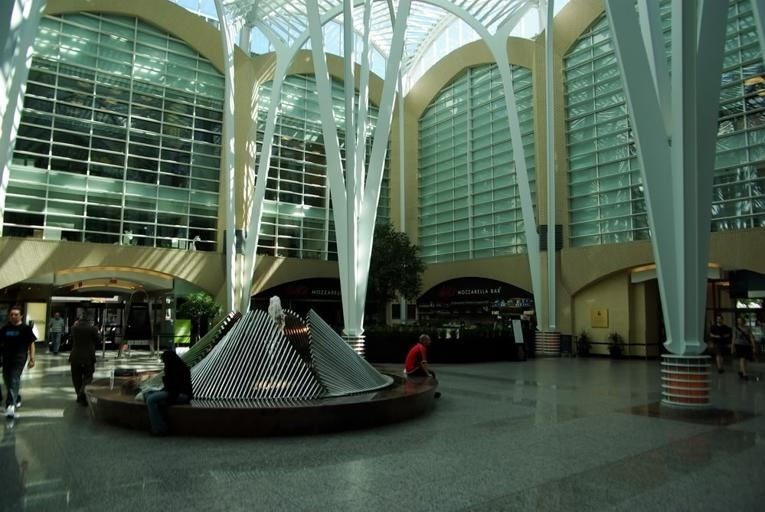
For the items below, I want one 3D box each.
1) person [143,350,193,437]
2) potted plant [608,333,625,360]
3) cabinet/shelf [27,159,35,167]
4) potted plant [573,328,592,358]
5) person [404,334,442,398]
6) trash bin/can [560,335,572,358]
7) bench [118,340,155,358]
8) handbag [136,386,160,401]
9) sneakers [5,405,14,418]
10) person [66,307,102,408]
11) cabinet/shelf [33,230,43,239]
[{"bbox_3d":[-4.924,3.136,14.648,0.952,1.875,0.365,0,3,-22],"label":"person"},{"bbox_3d":[12.031,4.662,32.745,1.005,1.425,1.026,2,-5,-24],"label":"potted plant"},{"bbox_3d":[-18.407,-4.816,33.204,0.417,0.417,0.298,-1,-7,-35],"label":"cabinet/shelf"},{"bbox_3d":[10.757,4.774,34.139,1.018,1.766,1.065,0,-6,1],"label":"potted plant"},{"bbox_3d":[1.078,2.968,18.755,0.886,1.300,0.980,0,3,-12],"label":"person"},{"bbox_3d":[9.924,4.830,34.462,0.687,1.013,0.578,2,3,17],"label":"trash bin/can"},{"bbox_3d":[-12.683,4.791,32.564,1.618,0.445,1.788,1,-4,-2],"label":"bench"},{"bbox_3d":[-5.630,3.268,15.139,0.506,0.194,0.468,-5,0,-4],"label":"handbag"},{"bbox_3d":[-9.099,3.795,15.528,0.194,0.307,0.230,-1,3,-29],"label":"sneakers"},{"bbox_3d":[-8.135,2.737,17.318,0.723,2.419,0.995,-1,3,-27],"label":"person"},{"bbox_3d":[-18.023,-1.118,33.172,0.213,0.443,0.452,0,-1,44],"label":"cabinet/shelf"}]
